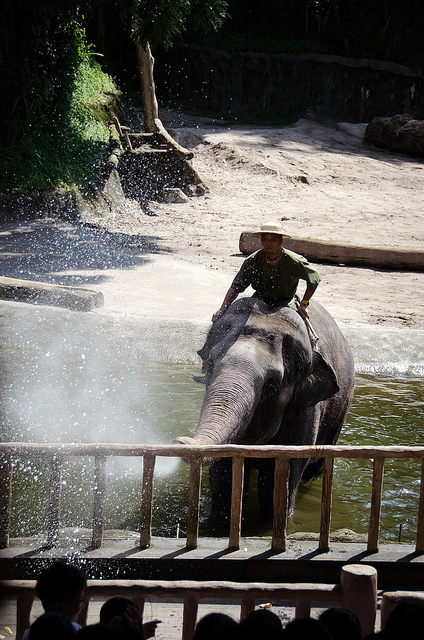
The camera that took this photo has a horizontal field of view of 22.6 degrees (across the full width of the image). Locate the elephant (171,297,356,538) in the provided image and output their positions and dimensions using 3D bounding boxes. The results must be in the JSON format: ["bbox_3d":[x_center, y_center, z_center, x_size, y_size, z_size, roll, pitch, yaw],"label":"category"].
[{"bbox_3d":[0.268,0.549,5.149,0.691,1.170,2.006,4,-1,17],"label":"elephant"}]

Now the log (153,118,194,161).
[{"bbox_3d":[-0.578,-2.665,15.692,0.415,0.476,1.101,2,16,-17],"label":"log"}]

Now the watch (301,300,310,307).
[{"bbox_3d":[0.451,-0.076,5.132,0.028,0.019,0.039,8,23,1],"label":"watch"}]
